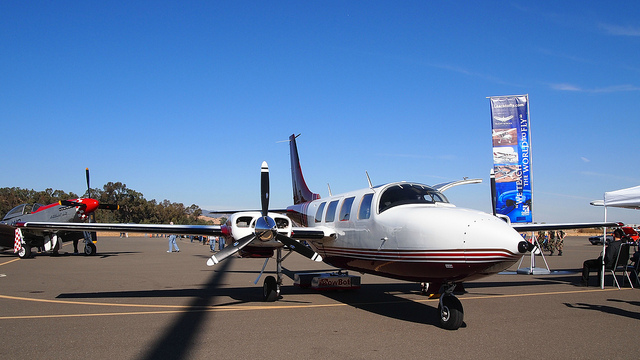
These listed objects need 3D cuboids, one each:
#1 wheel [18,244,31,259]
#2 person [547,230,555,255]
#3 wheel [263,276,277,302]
[{"bbox_3d":[-18.662,4.468,26.237,1.083,0.969,0.450,-39,-19,34],"label":"wheel"},{"bbox_3d":[17.464,4.815,31.702,0.465,1.249,1.679,0,0,28],"label":"person"},{"bbox_3d":[-1.844,3.948,15.081,0.299,0.670,0.765,5,-22,-12],"label":"wheel"}]
